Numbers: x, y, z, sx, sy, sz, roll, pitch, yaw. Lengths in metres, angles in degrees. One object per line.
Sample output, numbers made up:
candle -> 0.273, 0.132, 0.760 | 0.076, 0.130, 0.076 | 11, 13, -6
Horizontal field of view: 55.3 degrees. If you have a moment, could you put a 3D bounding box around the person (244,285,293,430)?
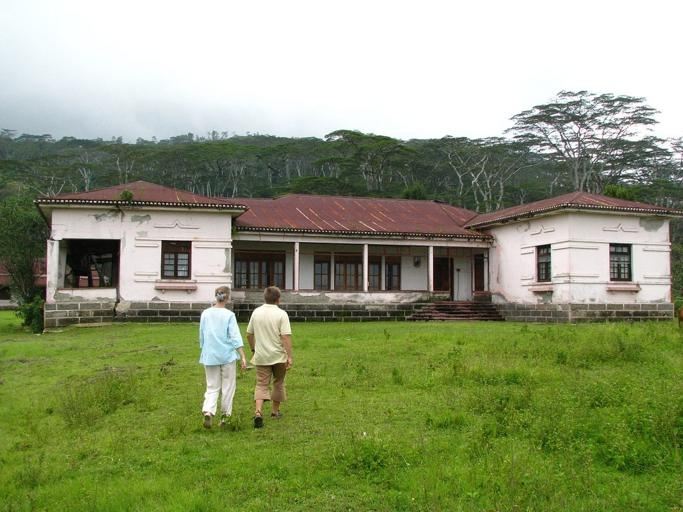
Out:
person -> -1.060, 1.448, 9.562 | 0.609, 1.978, 0.590 | -3, 10, -9

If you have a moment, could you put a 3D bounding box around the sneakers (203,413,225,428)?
sneakers -> -1.852, 2.369, 9.432 | 0.152, 0.193, 0.456 | 2, 1, 6

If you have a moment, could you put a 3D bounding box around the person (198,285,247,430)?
person -> -1.738, 1.577, 9.479 | 0.631, 1.757, 0.608 | -3, 10, -9
